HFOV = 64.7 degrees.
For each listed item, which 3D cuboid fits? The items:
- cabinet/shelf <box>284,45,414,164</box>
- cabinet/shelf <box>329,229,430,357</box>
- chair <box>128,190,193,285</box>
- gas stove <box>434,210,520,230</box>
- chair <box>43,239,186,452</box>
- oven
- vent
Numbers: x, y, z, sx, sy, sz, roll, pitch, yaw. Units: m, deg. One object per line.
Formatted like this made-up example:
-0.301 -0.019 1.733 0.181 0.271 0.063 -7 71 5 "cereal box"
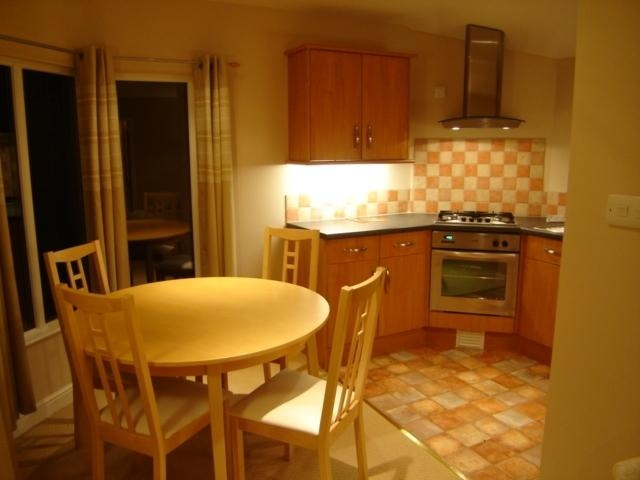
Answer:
0.270 -1.176 4.512 1.098 0.990 0.424 -8 15 -30 "cabinet/shelf"
0.437 0.357 3.842 0.902 1.125 0.545 -5 10 -25 "cabinet/shelf"
-1.321 -0.046 4.249 0.630 0.501 0.616 2 12 10 "chair"
1.418 -0.205 4.611 0.674 0.083 0.585 0 10 13 "gas stove"
-1.157 0.624 3.206 0.893 1.269 0.893 -10 9 -33 "chair"
1.413 0.406 4.646 0.790 0.801 0.628 5 -22 14 "oven"
1.475 -1.444 4.608 0.689 0.902 0.675 7 19 22 "vent"
